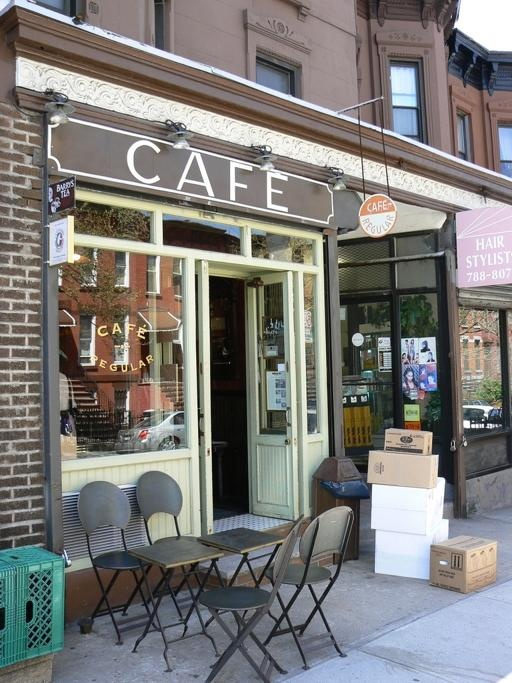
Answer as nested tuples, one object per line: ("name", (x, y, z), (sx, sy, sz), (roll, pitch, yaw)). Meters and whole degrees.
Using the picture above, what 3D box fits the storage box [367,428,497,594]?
("storage box", (1.545, 1.401, 5.601), (1.233, 1.496, 0.887), (-2, -2, 38))

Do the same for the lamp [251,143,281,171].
("lamp", (0.083, -1.642, 5.555), (0.211, 0.277, 0.200), (-11, 2, 7))

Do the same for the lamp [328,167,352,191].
("lamp", (0.829, -1.655, 6.381), (0.176, 0.275, 0.358), (-3, -3, 8))

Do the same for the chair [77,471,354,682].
("chair", (-0.333, 1.394, 3.811), (1.062, 0.993, 1.789), (0, -5, -41))
